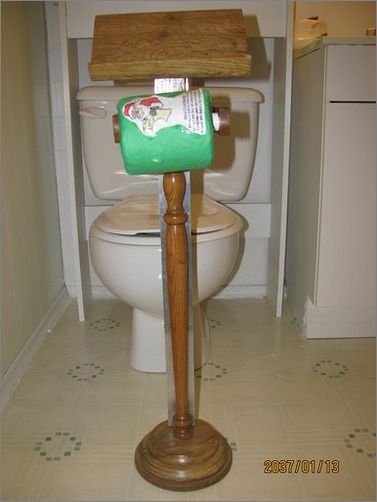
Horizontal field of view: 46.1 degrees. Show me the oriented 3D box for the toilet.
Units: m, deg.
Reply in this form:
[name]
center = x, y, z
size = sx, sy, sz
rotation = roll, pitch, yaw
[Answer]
[toilet]
center = 0.004, -0.083, 1.229
size = 0.560, 0.721, 0.677
rotation = -5, 20, -13
